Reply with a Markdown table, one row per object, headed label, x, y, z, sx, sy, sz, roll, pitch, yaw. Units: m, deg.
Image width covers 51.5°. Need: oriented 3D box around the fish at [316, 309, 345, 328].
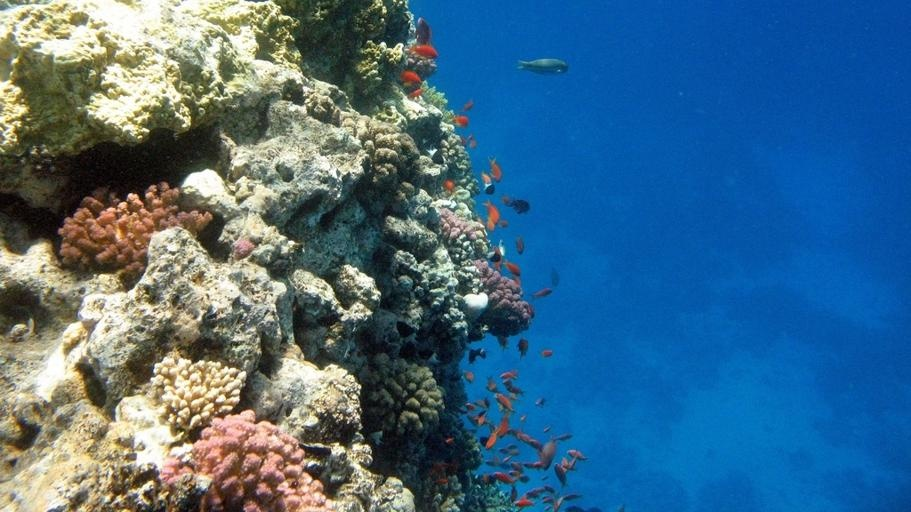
| label | x | y | z | sx | sy | sz | roll | pitch | yaw |
| --- | --- | --- | --- | --- | --- | --- | --- | --- | --- |
| fish | -2.742 | 1.354 | 20.673 | 0.334 | 0.107 | 0.434 | 17 | -44 | -39 |
